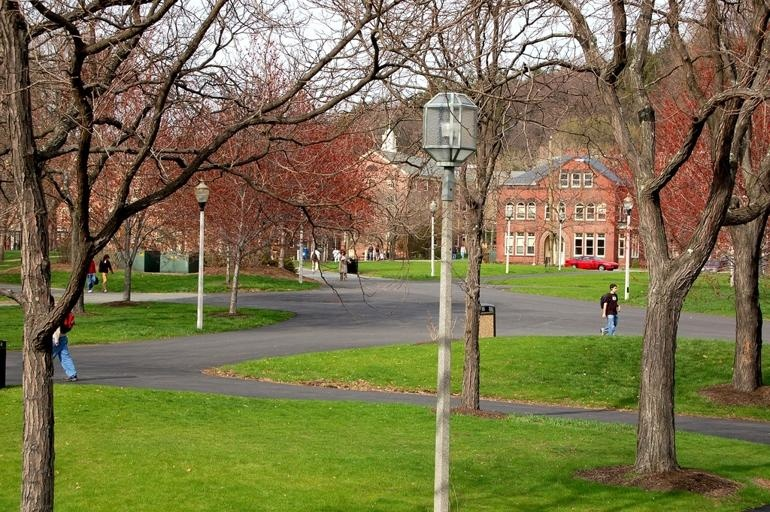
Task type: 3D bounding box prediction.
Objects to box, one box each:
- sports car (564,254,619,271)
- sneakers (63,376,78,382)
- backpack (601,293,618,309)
[{"bbox_3d":[14.946,0.600,93.644,3.353,0.861,1.531,0,0,29],"label":"sports car"},{"bbox_3d":[-8.049,3.118,32.618,0.388,0.157,0.129,4,0,19],"label":"sneakers"},{"bbox_3d":[7.447,1.462,42.715,0.474,0.611,0.666,1,2,23],"label":"backpack"}]
